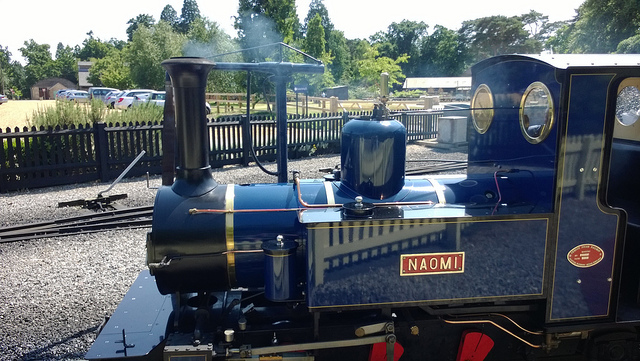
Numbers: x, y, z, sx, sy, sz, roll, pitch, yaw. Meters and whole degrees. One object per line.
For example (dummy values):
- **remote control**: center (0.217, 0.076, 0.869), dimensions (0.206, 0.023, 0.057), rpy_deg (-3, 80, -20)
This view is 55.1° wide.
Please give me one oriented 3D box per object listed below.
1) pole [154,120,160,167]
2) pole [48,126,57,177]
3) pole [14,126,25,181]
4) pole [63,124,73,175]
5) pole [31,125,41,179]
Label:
- **pole**: center (-4.562, -0.865, 17.060), dimensions (0.095, 0.912, 0.043), rpy_deg (0, 8, 4)
- **pole**: center (-6.934, -0.734, 15.759), dimensions (0.125, 1.268, 0.060), rpy_deg (-5, 11, -25)
- **pole**: center (-7.606, -0.674, 15.459), dimensions (0.110, 1.489, 0.120), rpy_deg (10, 16, 43)
- **pole**: center (-6.631, -0.804, 15.977), dimensions (0.169, 1.286, 0.268), rpy_deg (-8, 14, -18)
- **pole**: center (-7.293, -0.721, 15.643), dimensions (0.159, 1.317, 0.329), rpy_deg (-8, 14, -16)
